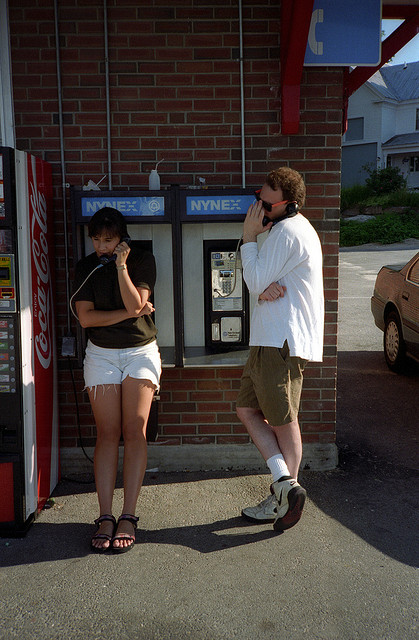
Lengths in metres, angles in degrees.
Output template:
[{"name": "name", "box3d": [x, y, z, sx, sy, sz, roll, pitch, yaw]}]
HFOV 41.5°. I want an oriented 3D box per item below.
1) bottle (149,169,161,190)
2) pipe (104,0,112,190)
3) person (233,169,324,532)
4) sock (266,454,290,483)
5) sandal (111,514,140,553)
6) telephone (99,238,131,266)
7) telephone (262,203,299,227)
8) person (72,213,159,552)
[{"name": "bottle", "box3d": [-0.330, -0.848, 3.335, 0.068, 0.143, 0.185, -2, 6, -4]}, {"name": "pipe", "box3d": [-0.616, -1.348, 3.337, 0.032, 1.083, 0.086, -2, 6, -13]}, {"name": "person", "box3d": [0.322, 0.151, 2.607, 0.423, 1.708, 0.357, 0, 6, 9]}, {"name": "sock", "box3d": [0.336, 0.711, 2.634, 0.073, 0.121, 0.124, -7, -33, -18]}, {"name": "sandal", "box3d": [-0.401, 0.985, 2.564, 0.102, 0.149, 0.154, -1, 6, 6]}, {"name": "telephone", "box3d": [-0.479, -0.337, 2.810, 0.156, 0.111, 0.071, -37, -16, -12]}, {"name": "telephone", "box3d": [0.338, -0.491, 2.624, 0.137, 0.051, 0.103, -26, 9, 8]}, {"name": "person", "box3d": [-0.441, 0.261, 2.727, 0.406, 1.567, 0.606, -2, 6, -11]}]
